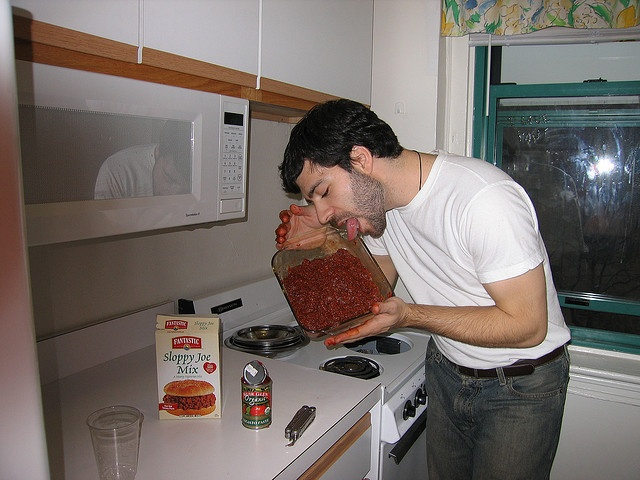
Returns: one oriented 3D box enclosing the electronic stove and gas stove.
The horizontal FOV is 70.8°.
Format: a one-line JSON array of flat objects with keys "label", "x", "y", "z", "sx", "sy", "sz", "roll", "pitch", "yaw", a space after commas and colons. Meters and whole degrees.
[{"label": "electronic stove and gas stove", "x": 0.111, "y": 0.458, "z": 1.778, "sx": 0.408, "sy": 0.093, "sz": 0.421, "roll": 10, "pitch": 11, "yaw": 17}]
